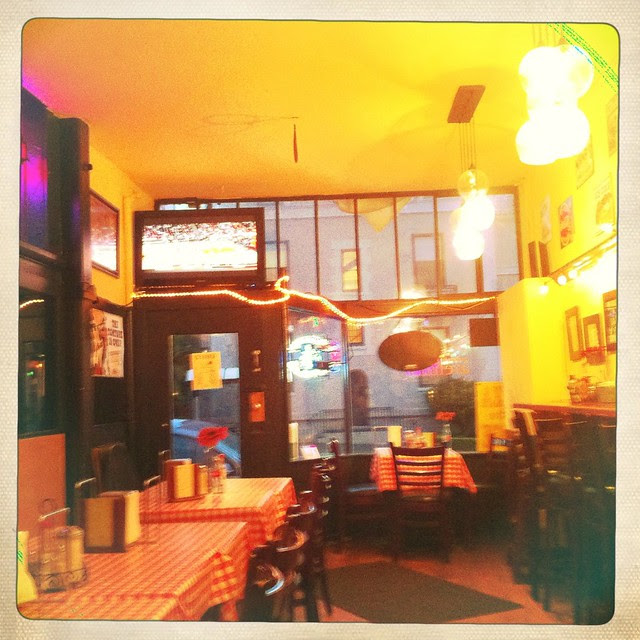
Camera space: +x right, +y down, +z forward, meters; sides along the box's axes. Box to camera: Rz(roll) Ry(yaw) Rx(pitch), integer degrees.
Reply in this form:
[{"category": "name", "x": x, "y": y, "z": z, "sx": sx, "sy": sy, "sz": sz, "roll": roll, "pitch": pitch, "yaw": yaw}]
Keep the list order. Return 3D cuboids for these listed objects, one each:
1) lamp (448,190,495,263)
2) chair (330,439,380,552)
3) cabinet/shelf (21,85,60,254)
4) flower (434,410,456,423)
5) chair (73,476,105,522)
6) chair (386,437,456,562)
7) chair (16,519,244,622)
[{"category": "lamp", "x": 0.764, "y": -0.471, "z": 3.271, "sx": 0.215, "sy": 0.369, "sz": 0.273, "roll": -4, "pitch": -7, "yaw": 14}, {"category": "chair", "x": 0.228, "y": 1.231, "z": 4.477, "sx": 0.334, "sy": 0.587, "sz": 0.242, "roll": -2, "pitch": -7, "yaw": -6}, {"category": "cabinet/shelf", "x": -1.367, "y": -0.706, "z": 3.181, "sx": 0.151, "sy": 0.709, "sz": 0.446, "roll": 0, "pitch": -7, "yaw": -20}, {"category": "flower", "x": 0.776, "y": 0.603, "z": 4.070, "sx": 0.131, "sy": 0.048, "sz": 0.126, "roll": 0, "pitch": -3, "yaw": -2}, {"category": "chair", "x": -1.049, "y": 0.812, "z": 2.926, "sx": 0.145, "sy": 0.191, "sz": 0.140, "roll": -1, "pitch": -17, "yaw": -9}, {"category": "chair", "x": 0.675, "y": 1.196, "z": 4.431, "sx": 0.412, "sy": 0.742, "sz": 0.486, "roll": -2, "pitch": -3, "yaw": 10}, {"category": "chair", "x": -0.508, "y": 0.810, "z": 2.005, "sx": 0.382, "sy": 0.242, "sz": 0.699, "roll": -4, "pitch": -6, "yaw": 14}]
